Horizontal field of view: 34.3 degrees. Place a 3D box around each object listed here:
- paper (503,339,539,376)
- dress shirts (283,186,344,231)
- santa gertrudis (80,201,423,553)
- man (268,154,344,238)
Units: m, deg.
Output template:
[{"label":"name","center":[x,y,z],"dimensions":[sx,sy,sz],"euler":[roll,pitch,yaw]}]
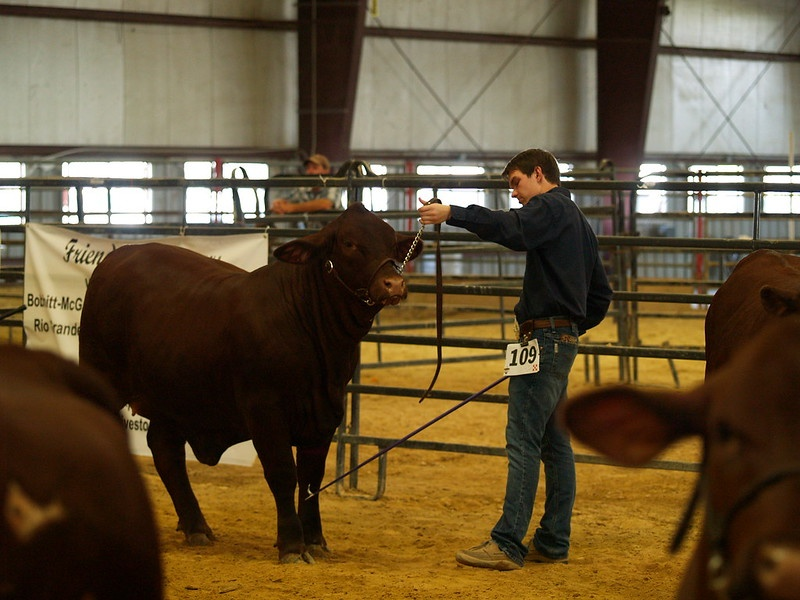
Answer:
[{"label":"paper","center":[0.968,0.445,10.167],"dimensions":[0.289,0.273,0.021],"euler":[-5,-23,18]},{"label":"dress shirts","center":[-0.985,-1.116,14.893],"dimensions":[0.626,0.693,0.244],"euler":[1,29,-1]},{"label":"santa gertrudis","center":[-1.332,0.593,10.748],"dimensions":[3.197,2.914,1.518],"euler":[2,-2,28]},{"label":"man","center":[-1.046,-1.218,14.914],"dimensions":[0.825,0.609,1.203],"euler":[1,0,8]}]
